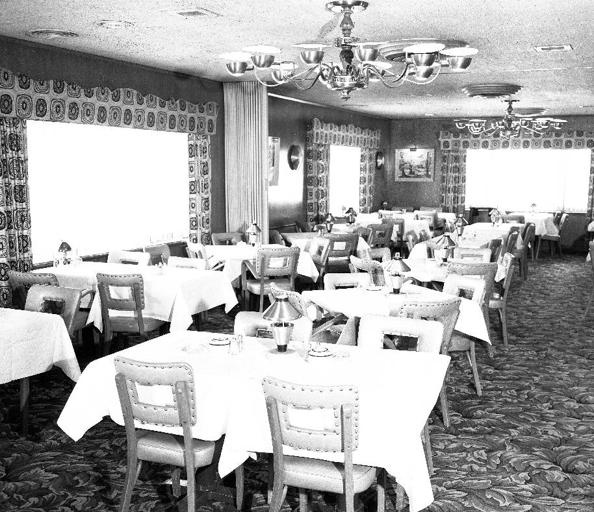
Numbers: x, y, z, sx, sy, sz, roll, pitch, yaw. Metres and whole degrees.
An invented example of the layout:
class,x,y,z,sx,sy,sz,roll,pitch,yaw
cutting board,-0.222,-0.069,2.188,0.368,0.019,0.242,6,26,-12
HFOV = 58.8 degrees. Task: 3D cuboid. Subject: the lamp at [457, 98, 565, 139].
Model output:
class,x,y,z,sx,sy,sz,roll,pitch,yaw
lamp,4.521,-2.903,11.076,1.642,0.574,1.569,6,7,30
